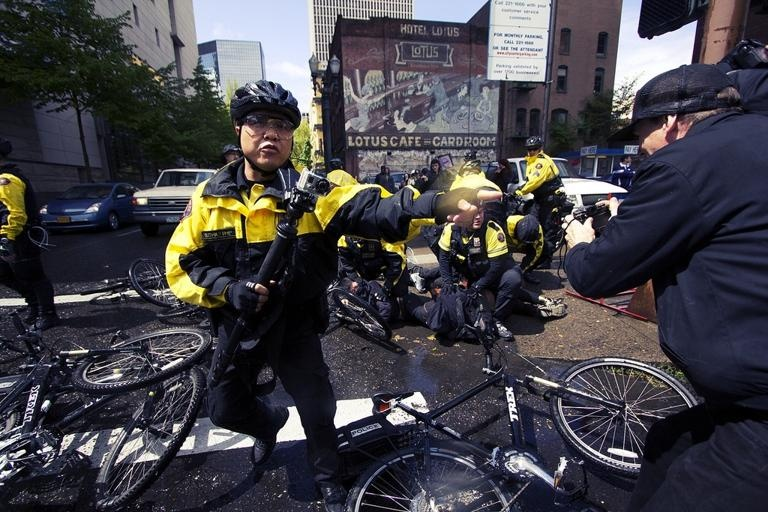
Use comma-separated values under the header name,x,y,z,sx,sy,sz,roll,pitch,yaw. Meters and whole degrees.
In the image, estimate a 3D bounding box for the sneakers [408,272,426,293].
name,x,y,z,sx,sy,sz,roll,pitch,yaw
sneakers,0.496,0.422,7.547,0.179,0.140,0.390,-11,16,-1

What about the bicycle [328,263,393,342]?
name,x,y,z,sx,sy,sz,roll,pitch,yaw
bicycle,-0.258,0.621,6.105,0.557,0.657,1.074,-49,7,-23

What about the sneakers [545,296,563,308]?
name,x,y,z,sx,sy,sz,roll,pitch,yaw
sneakers,2.274,0.636,6.636,0.233,0.084,0.132,3,-6,-32
